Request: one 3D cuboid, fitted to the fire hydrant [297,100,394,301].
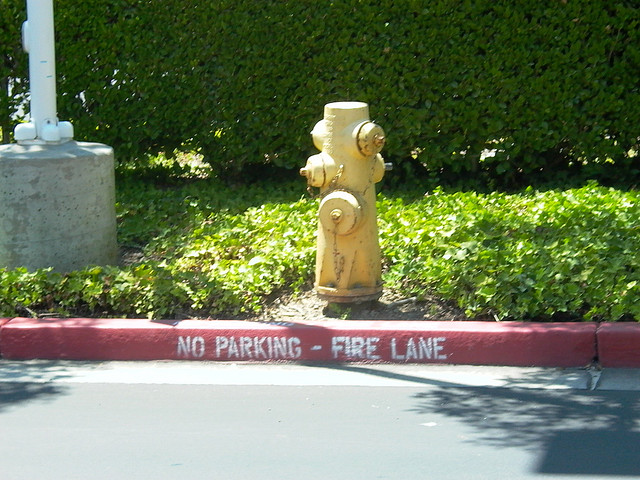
[{"bbox_3d":[0.193,-0.345,9.934,1.052,1.672,1.083,-3,9,-41],"label":"fire hydrant"}]
